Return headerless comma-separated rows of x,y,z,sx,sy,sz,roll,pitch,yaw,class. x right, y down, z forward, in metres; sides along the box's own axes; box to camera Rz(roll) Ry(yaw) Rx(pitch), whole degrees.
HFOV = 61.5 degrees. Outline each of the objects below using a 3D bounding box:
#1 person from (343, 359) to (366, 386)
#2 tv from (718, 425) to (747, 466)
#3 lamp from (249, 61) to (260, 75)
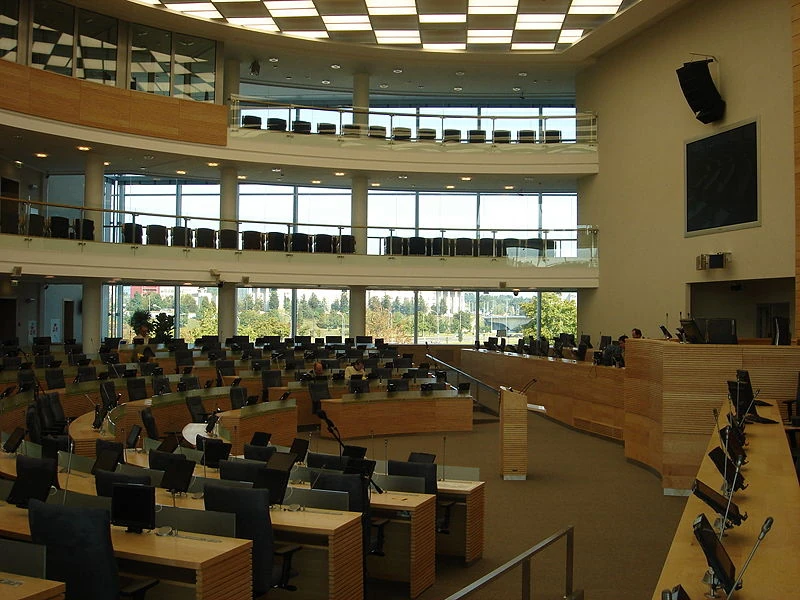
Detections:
-0.993,1.700,16.147,0.494,0.902,0.493,4,-9,-41,person
3.126,1.386,6.359,0.163,0.300,0.085,-26,-2,-27,tv
-4.895,-7.876,22.866,0.408,0.582,0.307,-1,-3,-1,lamp
